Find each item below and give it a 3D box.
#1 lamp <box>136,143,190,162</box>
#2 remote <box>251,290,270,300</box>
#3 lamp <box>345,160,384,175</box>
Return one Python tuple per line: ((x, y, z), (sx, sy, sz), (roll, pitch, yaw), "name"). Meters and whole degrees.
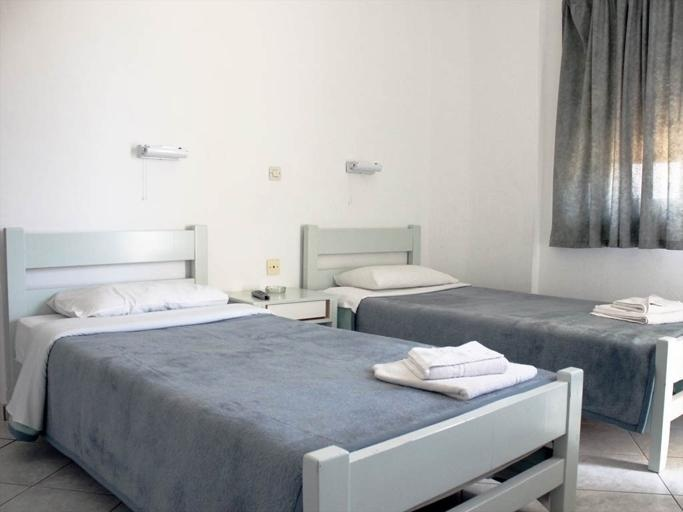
((-1.219, -0.713, 3.607), (0.363, 0.102, 0.149), (-3, 10, -23), "lamp")
((-0.571, 0.274, 3.767), (0.064, 0.030, 0.126), (-3, 10, -29), "remote")
((0.227, -0.775, 4.609), (0.401, 0.125, 0.153), (-7, 12, -42), "lamp")
